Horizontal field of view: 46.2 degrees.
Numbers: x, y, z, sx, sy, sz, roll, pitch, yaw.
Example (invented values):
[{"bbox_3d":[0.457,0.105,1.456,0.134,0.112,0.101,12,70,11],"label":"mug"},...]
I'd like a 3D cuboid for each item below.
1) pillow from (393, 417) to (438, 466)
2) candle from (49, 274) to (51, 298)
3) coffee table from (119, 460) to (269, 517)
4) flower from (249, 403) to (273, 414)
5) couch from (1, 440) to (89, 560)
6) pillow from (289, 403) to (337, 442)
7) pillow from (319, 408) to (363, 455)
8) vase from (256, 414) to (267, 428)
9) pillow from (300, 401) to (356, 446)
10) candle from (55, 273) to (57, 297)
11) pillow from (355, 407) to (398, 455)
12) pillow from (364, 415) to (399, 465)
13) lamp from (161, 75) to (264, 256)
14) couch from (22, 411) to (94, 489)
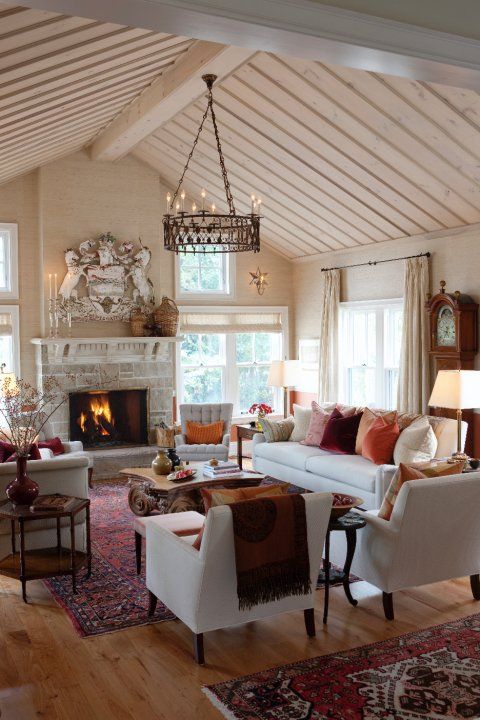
[{"bbox_3d":[1.509,0.709,4.770,0.171,0.295,0.326,4,-20,-9],"label":"pillow"},{"bbox_3d":[-2.341,-0.902,6.885,0.027,0.271,0.051,1,-4,-18],"label":"candle"},{"bbox_3d":[-0.486,1.231,4.970,1.235,0.368,1.237,14,-11,-16],"label":"coffee table"},{"bbox_3d":[0.266,0.647,7.285,0.239,0.148,0.240,2,-2,0],"label":"flower"},{"bbox_3d":[-1.266,0.975,3.970,0.618,0.653,0.644,1,2,29],"label":"couch"},{"bbox_3d":[0.816,0.708,6.221,0.398,0.437,0.155,6,-9,8],"label":"pillow"},{"bbox_3d":[1.042,0.724,5.708,0.126,0.418,0.419,19,-7,-38],"label":"pillow"},{"bbox_3d":[0.250,0.743,6.798,0.043,0.146,0.108,-12,-12,44],"label":"vase"},{"bbox_3d":[0.953,0.735,6.181,0.145,0.481,0.479,23,-8,-32],"label":"pillow"},{"bbox_3d":[-2.270,-0.910,6.904,0.026,0.229,0.033,0,-4,-17],"label":"candle"},{"bbox_3d":[1.293,0.687,5.281,0.148,0.300,0.391,-5,-13,-5],"label":"pillow"},{"bbox_3d":[1.317,0.747,5.227,0.234,0.408,0.422,-3,8,1],"label":"pillow"},{"bbox_3d":[-0.228,-1.641,4.688,0.835,1.426,0.844,-12,17,-44],"label":"lamp"},{"bbox_3d":[-1.917,0.909,5.809,0.707,0.868,0.613,-1,-1,33],"label":"couch"}]
